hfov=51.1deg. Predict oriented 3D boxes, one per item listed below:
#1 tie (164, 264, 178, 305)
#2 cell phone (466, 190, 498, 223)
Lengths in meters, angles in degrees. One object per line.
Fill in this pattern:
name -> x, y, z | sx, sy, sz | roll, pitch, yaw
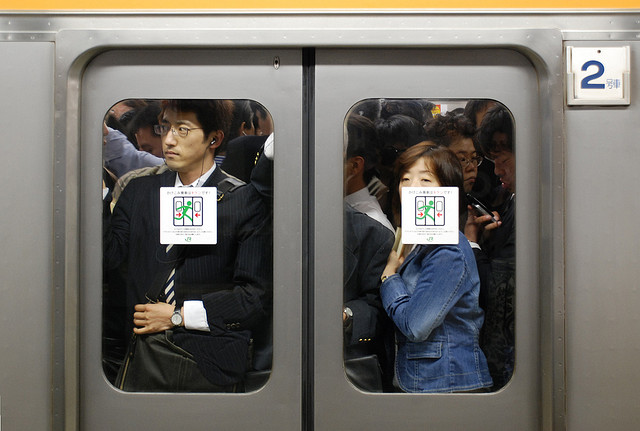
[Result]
tie -> -0.673, 0.327, 3.039 | 0.039, 0.142, 0.096 | 2, -4, 1
cell phone -> 0.731, -0.045, 3.036 | 0.143, 0.032, 0.052 | 46, 11, -5
